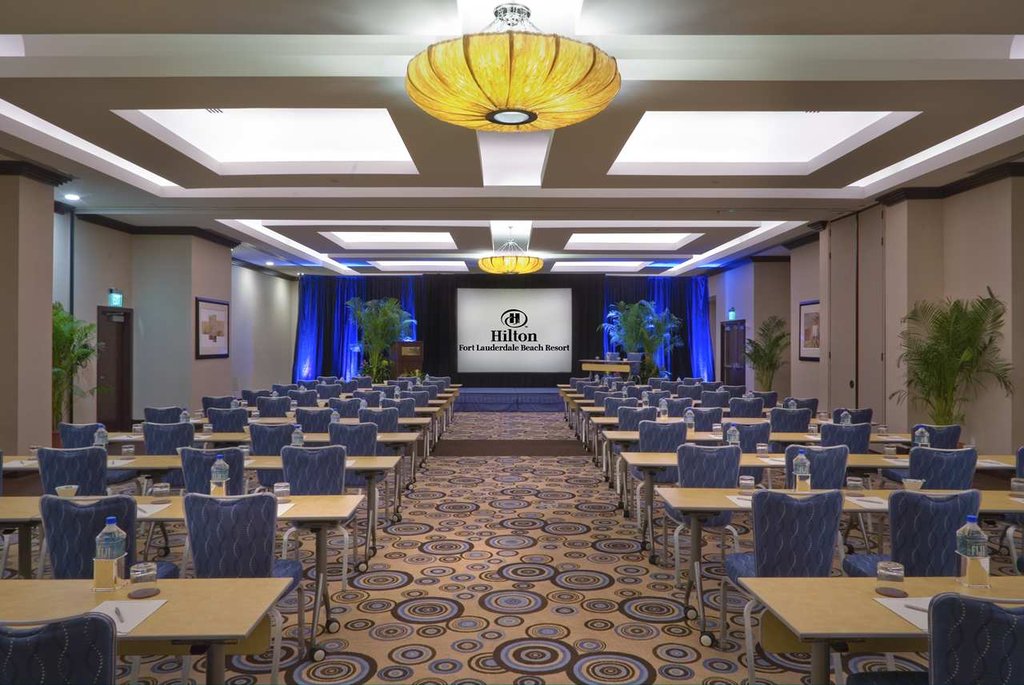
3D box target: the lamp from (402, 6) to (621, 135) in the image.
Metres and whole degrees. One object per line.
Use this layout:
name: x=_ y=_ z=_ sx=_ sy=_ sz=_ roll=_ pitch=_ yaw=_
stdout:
lamp: x=-0.028 y=-2.232 z=6.622 sx=1.373 sy=0.617 sz=1.356 roll=1 pitch=-17 yaw=0

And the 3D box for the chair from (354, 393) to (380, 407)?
chair: x=-2.402 y=0.945 z=12.507 sx=0.324 sy=0.403 sz=0.326 roll=1 pitch=-9 yaw=-4

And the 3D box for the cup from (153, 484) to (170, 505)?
cup: x=-3.045 y=1.339 z=6.503 sx=0.193 sy=0.190 sz=0.111 roll=0 pitch=4 yaw=-6

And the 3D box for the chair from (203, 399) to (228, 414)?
chair: x=-4.475 y=0.970 z=11.303 sx=0.263 sy=0.313 sz=0.248 roll=0 pitch=0 yaw=19

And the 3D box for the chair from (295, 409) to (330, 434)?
chair: x=-2.614 y=1.023 z=9.915 sx=0.407 sy=0.503 sz=0.418 roll=1 pitch=2 yaw=1

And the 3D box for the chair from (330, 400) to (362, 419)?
chair: x=-2.481 y=0.996 z=11.151 sx=0.333 sy=0.404 sz=0.338 roll=0 pitch=-14 yaw=-3

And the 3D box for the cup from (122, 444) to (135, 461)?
cup: x=-4.227 y=1.227 z=8.254 sx=0.197 sy=0.213 sz=0.195 roll=0 pitch=-7 yaw=0

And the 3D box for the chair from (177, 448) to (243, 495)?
chair: x=-2.799 y=1.216 z=7.142 sx=0.499 sy=0.665 sz=0.555 roll=1 pitch=0 yaw=-3

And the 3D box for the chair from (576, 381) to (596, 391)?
chair: x=1.629 y=0.954 z=16.336 sx=0.219 sy=0.207 sz=0.266 roll=1 pitch=-4 yaw=-5

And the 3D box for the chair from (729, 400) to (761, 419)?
chair: x=3.449 y=0.984 z=11.091 sx=0.301 sy=0.402 sz=0.336 roll=1 pitch=1 yaw=11

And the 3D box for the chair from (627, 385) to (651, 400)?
chair: x=2.352 y=0.930 z=13.991 sx=0.291 sy=0.355 sz=0.301 roll=0 pitch=-12 yaw=4

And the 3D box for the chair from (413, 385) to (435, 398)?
chair: x=-1.758 y=0.958 z=14.767 sx=0.324 sy=0.202 sz=0.318 roll=1 pitch=-3 yaw=-3

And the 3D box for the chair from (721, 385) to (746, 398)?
chair: x=4.093 y=0.921 z=13.866 sx=0.222 sy=0.289 sz=0.239 roll=1 pitch=3 yaw=0

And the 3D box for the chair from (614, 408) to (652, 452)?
chair: x=1.592 y=1.053 z=9.812 sx=0.322 sy=0.418 sz=0.344 roll=1 pitch=0 yaw=3

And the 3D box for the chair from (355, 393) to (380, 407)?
chair: x=-2.394 y=0.949 z=12.482 sx=0.299 sy=0.381 sz=0.308 roll=1 pitch=-7 yaw=-4

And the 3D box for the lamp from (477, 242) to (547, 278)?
lamp: x=-0.114 y=-1.960 z=16.205 sx=1.215 sy=0.548 sz=1.206 roll=0 pitch=-2 yaw=-5

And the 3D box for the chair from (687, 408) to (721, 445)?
chair: x=2.468 y=1.065 z=9.515 sx=0.391 sy=0.520 sz=0.435 roll=1 pitch=-2 yaw=7

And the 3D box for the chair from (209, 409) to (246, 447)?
chair: x=-3.652 y=1.118 z=9.613 sx=0.503 sy=0.646 sz=0.533 roll=2 pitch=0 yaw=-7

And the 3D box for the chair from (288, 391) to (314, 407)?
chair: x=-3.586 y=0.993 z=12.868 sx=0.337 sy=0.432 sz=0.361 roll=2 pitch=-9 yaw=-12

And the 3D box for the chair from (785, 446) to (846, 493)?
chair: x=2.858 y=1.150 z=7.063 sx=0.474 sy=0.601 sz=0.497 roll=1 pitch=-3 yaw=12

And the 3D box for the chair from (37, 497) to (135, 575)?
chair: x=-3.136 y=1.433 z=5.637 sx=0.605 sy=0.785 sz=0.651 roll=1 pitch=-5 yaw=-8

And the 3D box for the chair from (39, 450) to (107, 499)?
chair: x=-4.111 y=1.200 z=6.999 sx=0.479 sy=0.665 sz=0.537 roll=1 pitch=-1 yaw=-7

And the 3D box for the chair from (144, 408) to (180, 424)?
chair: x=-4.709 y=1.000 z=10.182 sx=0.376 sy=0.307 sz=0.298 roll=-2 pitch=-3 yaw=30

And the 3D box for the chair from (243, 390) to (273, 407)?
chair: x=-4.486 y=0.964 z=13.082 sx=0.610 sy=0.262 sz=0.548 roll=1 pitch=-4 yaw=-4

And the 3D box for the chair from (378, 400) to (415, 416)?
chair: x=-1.693 y=0.996 z=11.517 sx=0.305 sy=0.271 sz=0.304 roll=1 pitch=1 yaw=-6

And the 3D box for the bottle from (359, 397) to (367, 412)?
bottle: x=-2.242 y=0.940 z=11.235 sx=0.117 sy=0.181 sz=0.186 roll=1 pitch=-9 yaw=-5

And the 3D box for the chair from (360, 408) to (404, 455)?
chair: x=-1.691 y=1.181 z=9.832 sx=0.575 sy=0.794 sz=0.627 roll=1 pitch=-8 yaw=-4

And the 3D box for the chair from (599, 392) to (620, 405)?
chair: x=1.665 y=0.948 z=12.877 sx=0.307 sy=0.131 sz=0.223 roll=0 pitch=-2 yaw=1
